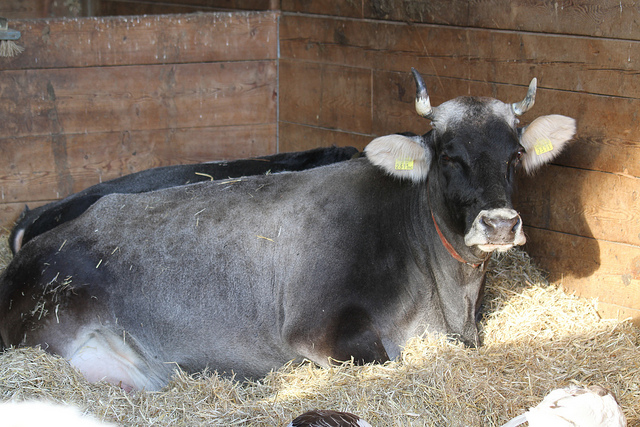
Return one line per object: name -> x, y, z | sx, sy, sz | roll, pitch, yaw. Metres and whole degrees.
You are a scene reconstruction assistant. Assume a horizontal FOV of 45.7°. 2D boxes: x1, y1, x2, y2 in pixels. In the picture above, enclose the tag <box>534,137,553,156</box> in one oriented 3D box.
tag -> 2.010, -0.612, 6.809 | 0.128, 0.155, 0.018 | 1, 10, 7
